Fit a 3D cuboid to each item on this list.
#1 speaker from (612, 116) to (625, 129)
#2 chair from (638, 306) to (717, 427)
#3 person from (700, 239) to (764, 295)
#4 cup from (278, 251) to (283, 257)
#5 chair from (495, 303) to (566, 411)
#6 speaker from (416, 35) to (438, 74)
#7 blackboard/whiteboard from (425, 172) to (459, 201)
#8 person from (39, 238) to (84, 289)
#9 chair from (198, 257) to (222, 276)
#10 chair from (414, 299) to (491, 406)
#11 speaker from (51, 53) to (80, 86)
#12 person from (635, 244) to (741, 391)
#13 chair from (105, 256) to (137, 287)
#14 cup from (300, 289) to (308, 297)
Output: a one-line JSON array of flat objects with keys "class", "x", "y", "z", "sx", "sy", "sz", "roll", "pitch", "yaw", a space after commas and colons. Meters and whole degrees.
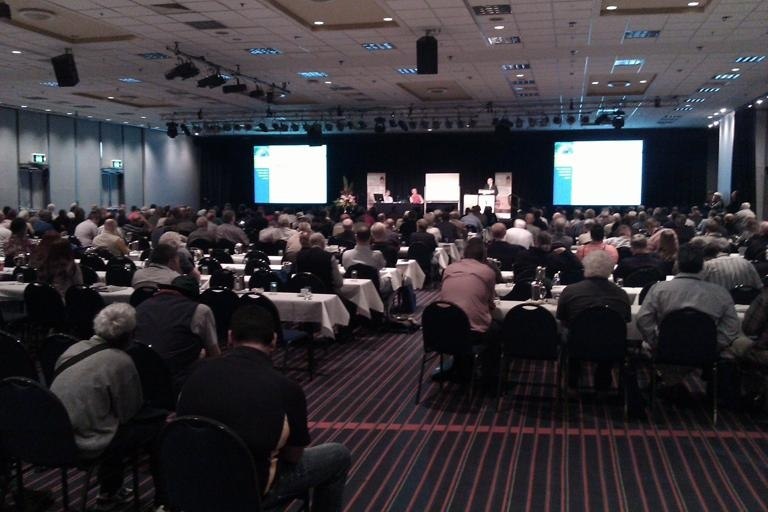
[{"class": "speaker", "x": 8.359, "y": -4.764, "z": 19.361, "sx": 0.474, "sy": 0.422, "sz": 0.447, "roll": -7, "pitch": 11, "yaw": -14}, {"class": "chair", "x": 3.283, "y": 1.123, "z": 5.932, "sx": 0.674, "sy": 1.226, "sz": 0.592, "roll": 1, "pitch": 8, "yaw": 25}, {"class": "person", "x": 4.674, "y": 0.148, "z": 7.309, "sx": 0.813, "sy": 0.664, "sz": 0.415, "roll": 2, "pitch": 13, "yaw": 28}, {"class": "cup", "x": -2.099, "y": -0.068, "z": 11.089, "sx": 0.080, "sy": 0.089, "sz": 0.138, "roll": -1, "pitch": 1, "yaw": -12}, {"class": "chair", "x": 1.691, "y": 1.063, "z": 6.364, "sx": 0.706, "sy": 1.197, "sz": 0.908, "roll": -1, "pitch": 7, "yaw": 16}, {"class": "speaker", "x": 0.888, "y": -4.218, "z": 11.302, "sx": 0.386, "sy": 0.790, "sz": 0.348, "roll": -3, "pitch": 7, "yaw": -1}, {"class": "blackboard/whiteboard", "x": 2.865, "y": -3.452, "z": 27.333, "sx": 1.554, "sy": 1.416, "sz": 1.594, "roll": 0, "pitch": 7, "yaw": 1}, {"class": "person", "x": -4.086, "y": 0.119, "z": 6.860, "sx": 0.458, "sy": 0.678, "sz": 0.374, "roll": -7, "pitch": 8, "yaw": -31}, {"class": "chair", "x": -2.853, "y": 0.145, "z": 8.918, "sx": 0.393, "sy": 0.262, "sz": 0.396, "roll": 1, "pitch": 8, "yaw": -15}, {"class": "chair", "x": 0.767, "y": 1.041, "z": 6.643, "sx": 0.801, "sy": 1.195, "sz": 1.142, "roll": -2, "pitch": 7, "yaw": 6}, {"class": "speaker", "x": -7.183, "y": -4.231, "z": 12.281, "sx": 0.450, "sy": 0.792, "sz": 0.744, "roll": -7, "pitch": 8, "yaw": -30}, {"class": "person", "x": 3.349, "y": 0.697, "z": 5.634, "sx": 1.126, "sy": 1.696, "sz": 0.970, "roll": 2, "pitch": -13, "yaw": 11}, {"class": "chair", "x": -4.090, "y": 0.244, "z": 8.462, "sx": 0.376, "sy": 0.592, "sz": 0.377, "roll": 5, "pitch": 13, "yaw": -1}, {"class": "cup", "x": -1.071, "y": 0.486, "z": 7.275, "sx": 0.099, "sy": 0.092, "sz": 0.097, "roll": 1, "pitch": -3, "yaw": 0}]
